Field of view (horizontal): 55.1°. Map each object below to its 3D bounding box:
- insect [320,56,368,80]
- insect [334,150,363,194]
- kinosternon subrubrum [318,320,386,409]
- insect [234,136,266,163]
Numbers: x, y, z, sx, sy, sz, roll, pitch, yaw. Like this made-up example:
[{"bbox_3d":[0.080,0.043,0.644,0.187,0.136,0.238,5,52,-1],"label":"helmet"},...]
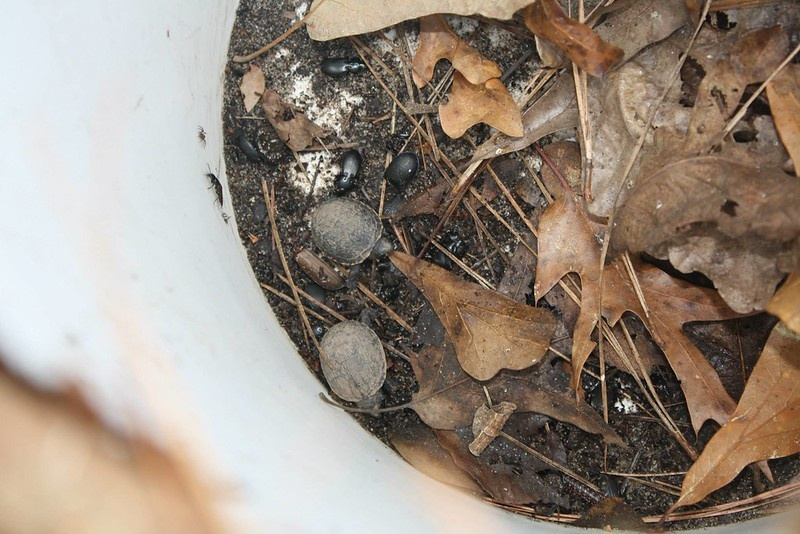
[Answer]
[{"bbox_3d":[-0.234,-0.822,3.141,0.145,0.084,0.050,-2,10,-2],"label":"insect"},{"bbox_3d":[-0.209,-0.394,3.142,0.105,0.177,0.068,18,1,-11],"label":"insect"},{"bbox_3d":[-0.179,0.380,3.096,0.222,0.345,0.104,-23,-2,5],"label":"kinosternon subrubrum"},{"bbox_3d":[-0.632,-0.492,3.225,0.145,0.077,0.035,51,2,-8],"label":"insect"}]
